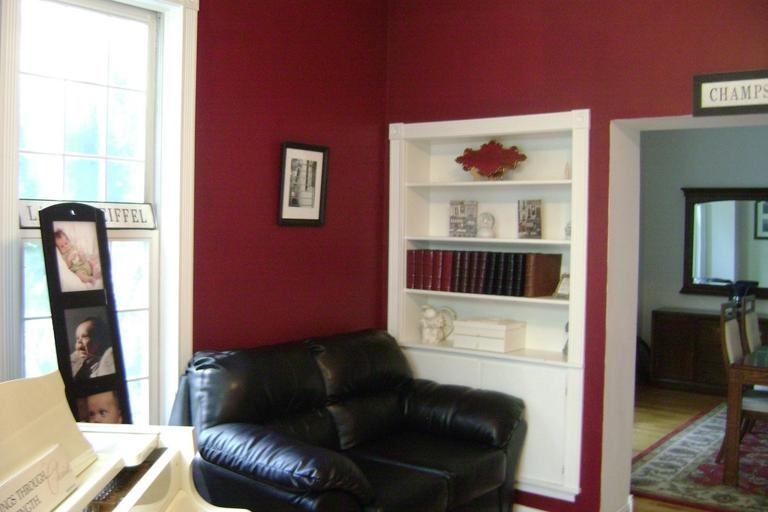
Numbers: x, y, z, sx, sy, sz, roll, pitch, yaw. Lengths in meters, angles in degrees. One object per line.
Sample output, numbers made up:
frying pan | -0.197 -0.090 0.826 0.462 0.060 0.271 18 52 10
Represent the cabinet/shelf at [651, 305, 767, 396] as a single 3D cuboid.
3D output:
cabinet/shelf | 3.625 1.046 6.350 1.232 0.998 0.429 2 5 25
